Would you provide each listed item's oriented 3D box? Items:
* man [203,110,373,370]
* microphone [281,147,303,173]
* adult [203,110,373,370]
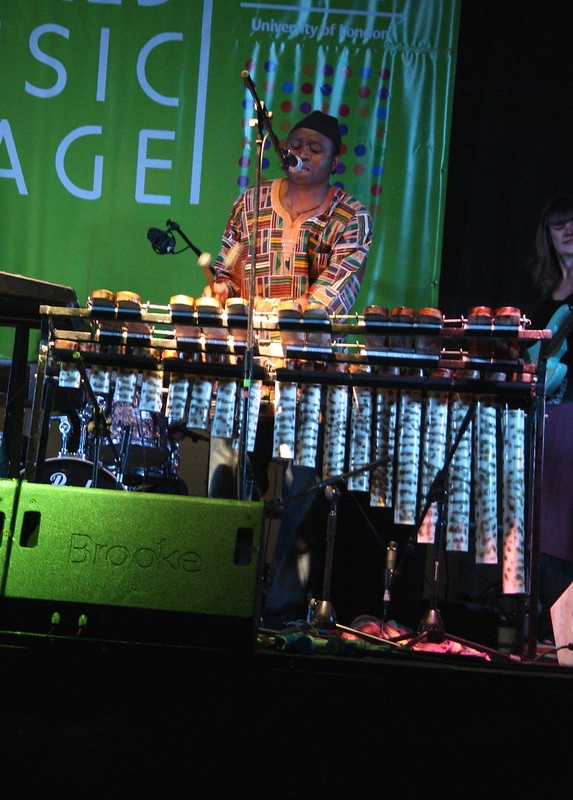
[{"bbox_3d":[-0.003,-0.589,3.369,0.584,0.986,0.508,8,-3,29],"label":"man"},{"bbox_3d":[0.017,-0.741,2.836,0.038,0.062,0.151,2,4,13],"label":"microphone"},{"bbox_3d":[0.002,-0.575,3.376,0.590,1.030,0.518,8,-3,24],"label":"adult"}]
